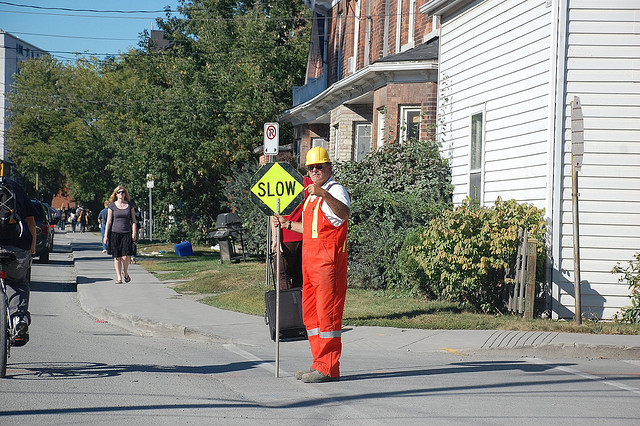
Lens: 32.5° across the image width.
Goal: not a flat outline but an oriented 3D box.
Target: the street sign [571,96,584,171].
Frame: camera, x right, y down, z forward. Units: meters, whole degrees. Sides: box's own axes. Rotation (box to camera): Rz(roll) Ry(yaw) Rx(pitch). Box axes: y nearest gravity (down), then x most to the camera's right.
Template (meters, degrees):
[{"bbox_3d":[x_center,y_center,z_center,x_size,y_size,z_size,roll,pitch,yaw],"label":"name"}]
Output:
[{"bbox_3d":[6.104,-1.878,25.934,0.287,1.691,0.573,2,12,11],"label":"street sign"}]

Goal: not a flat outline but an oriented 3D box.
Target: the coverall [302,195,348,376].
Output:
[{"bbox_3d":[0.038,1.470,21.823,0.888,3.504,0.833,3,12,14],"label":"coverall"}]

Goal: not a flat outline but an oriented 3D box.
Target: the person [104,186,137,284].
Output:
[{"bbox_3d":[-5.588,0.639,30.761,0.856,2.837,0.899,-2,12,-11],"label":"person"}]

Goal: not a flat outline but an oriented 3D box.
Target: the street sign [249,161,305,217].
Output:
[{"bbox_3d":[-0.919,-0.523,23.571,1.115,1.083,0.684,-1,12,-3],"label":"street sign"}]

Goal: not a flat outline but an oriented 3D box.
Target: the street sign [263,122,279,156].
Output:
[{"bbox_3d":[-1.250,-1.840,27.948,0.330,0.851,0.563,0,12,1],"label":"street sign"}]
